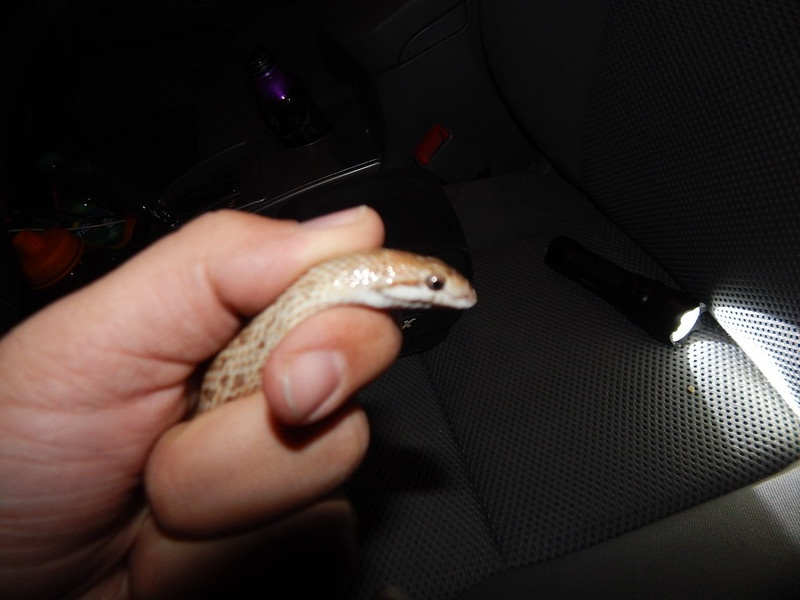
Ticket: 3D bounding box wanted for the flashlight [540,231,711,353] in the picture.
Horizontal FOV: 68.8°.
[{"bbox_3d":[0.602,-0.041,1.621,0.170,0.172,0.468,-53,51,13],"label":"flashlight"}]
